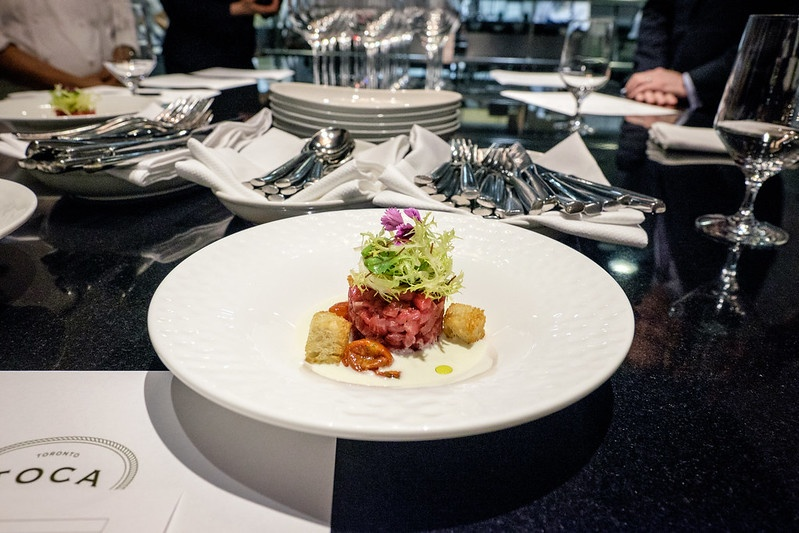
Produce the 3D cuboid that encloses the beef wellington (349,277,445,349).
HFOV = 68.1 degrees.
[{"bbox_3d":[-0.003,0.073,1.257,0.209,0.124,0.174,0,18,-1],"label":"beef wellington"}]
